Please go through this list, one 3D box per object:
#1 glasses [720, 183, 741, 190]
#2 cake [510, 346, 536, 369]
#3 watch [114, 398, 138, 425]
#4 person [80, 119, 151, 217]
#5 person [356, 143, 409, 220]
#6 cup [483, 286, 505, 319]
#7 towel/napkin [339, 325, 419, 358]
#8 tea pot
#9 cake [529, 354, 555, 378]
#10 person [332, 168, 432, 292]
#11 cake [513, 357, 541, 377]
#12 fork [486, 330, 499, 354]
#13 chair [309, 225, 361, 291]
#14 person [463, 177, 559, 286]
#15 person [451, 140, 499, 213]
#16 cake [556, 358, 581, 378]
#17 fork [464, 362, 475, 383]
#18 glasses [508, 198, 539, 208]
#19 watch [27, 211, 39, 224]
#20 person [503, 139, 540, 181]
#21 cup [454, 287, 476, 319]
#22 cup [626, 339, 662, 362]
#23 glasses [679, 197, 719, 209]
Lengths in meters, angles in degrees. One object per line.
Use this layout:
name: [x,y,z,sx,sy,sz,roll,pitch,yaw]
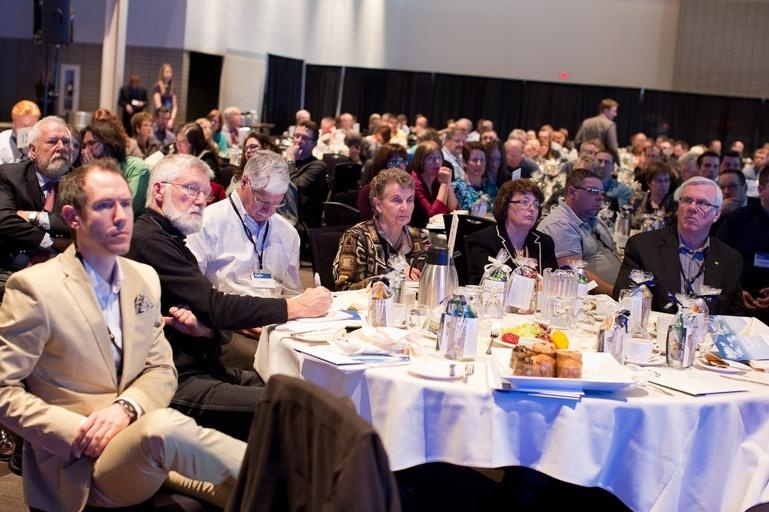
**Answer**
glasses: [3.400,-0.668,6.079,0.169,0.055,0.168,-5,-11,40]
cake: [0.540,0.388,2.414,0.077,0.081,0.077,0,4,-8]
watch: [-0.991,0.592,2.419,0.081,0.081,0.088,6,47,-48]
person: [-2.241,-0.681,5.132,0.560,0.829,0.437,-5,8,3]
person: [0.008,-0.736,6.508,0.384,0.872,0.436,3,-11,35]
cup: [0.541,0.235,3.081,0.112,0.188,0.112,0,10,0]
towel/napkin: [-0.007,0.356,2.572,0.205,0.068,0.160,6,-3,-32]
tea pot: [0.228,0.129,3.071,0.144,0.398,0.141,5,27,-3]
cake: [0.605,0.417,2.389,0.080,0.078,0.082,0,0,33]
person: [0.017,-0.116,3.777,0.622,0.757,0.489,2,6,-37]
cake: [0.550,0.430,2.391,0.071,0.048,0.075,1,-6,2]
fork: [0.485,0.365,2.732,0.026,0.025,0.203,13,35,15]
chair: [-0.265,0.077,4.072,0.351,0.531,0.368,-7,5,-22]
person: [0.862,-0.093,4.062,0.636,0.739,0.392,9,-15,-20]
person: [1.000,-0.829,6.955,0.509,0.810,0.403,2,-1,-33]
cake: [0.710,0.425,2.377,0.067,0.049,0.070,0,-1,26]
fork: [0.339,0.461,2.475,0.022,0.016,0.137,15,31,0]
glasses: [0.885,-0.328,3.903,0.186,0.049,0.096,4,8,4]
watch: [-2.336,-0.247,4.130,0.041,0.038,0.090,6,26,-11]
person: [1.852,-1.314,8.405,0.373,0.531,1.440,6,8,19]
cup: [0.349,0.203,2.646,0.105,0.128,0.111,-1,3,0]
cup: [1.118,0.414,2.685,0.134,0.095,0.100,2,-3,42]
glasses: [1.823,-0.299,3.564,0.206,0.050,0.084,3,8,-5]
